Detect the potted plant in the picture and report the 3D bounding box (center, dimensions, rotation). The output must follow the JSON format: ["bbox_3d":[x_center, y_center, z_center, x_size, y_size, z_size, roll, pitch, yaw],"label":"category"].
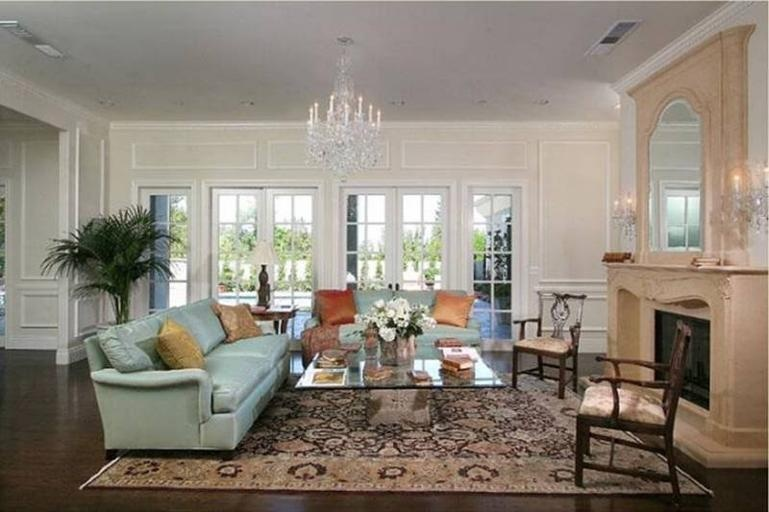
[{"bbox_3d":[-4.083,0.268,8.447,1.962,1.815,1.847,0,-4,-6],"label":"potted plant"}]

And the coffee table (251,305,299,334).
[{"bbox_3d":[-1.511,0.830,7.552,0.452,0.237,0.500,0,-2,-5],"label":"coffee table"}]

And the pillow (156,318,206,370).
[{"bbox_3d":[-2.032,0.885,5.661,0.435,0.540,0.728,0,4,-6],"label":"pillow"}]

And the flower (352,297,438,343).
[{"bbox_3d":[0.121,0.657,5.966,0.613,0.404,0.559,0,2,-8],"label":"flower"}]

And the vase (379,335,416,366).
[{"bbox_3d":[0.148,0.994,5.916,0.318,0.301,0.331,-2,-4,26],"label":"vase"}]

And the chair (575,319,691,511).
[{"bbox_3d":[2.423,1.337,5.340,0.908,1.507,1.479,0,2,29],"label":"chair"}]

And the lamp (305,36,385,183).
[{"bbox_3d":[-0.512,-1.621,6.782,0.933,1.480,1.814,-1,1,-2],"label":"lamp"}]

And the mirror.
[{"bbox_3d":[3.245,-1.084,5.879,0.242,2.284,1.232,-1,2,-20],"label":"mirror"}]
